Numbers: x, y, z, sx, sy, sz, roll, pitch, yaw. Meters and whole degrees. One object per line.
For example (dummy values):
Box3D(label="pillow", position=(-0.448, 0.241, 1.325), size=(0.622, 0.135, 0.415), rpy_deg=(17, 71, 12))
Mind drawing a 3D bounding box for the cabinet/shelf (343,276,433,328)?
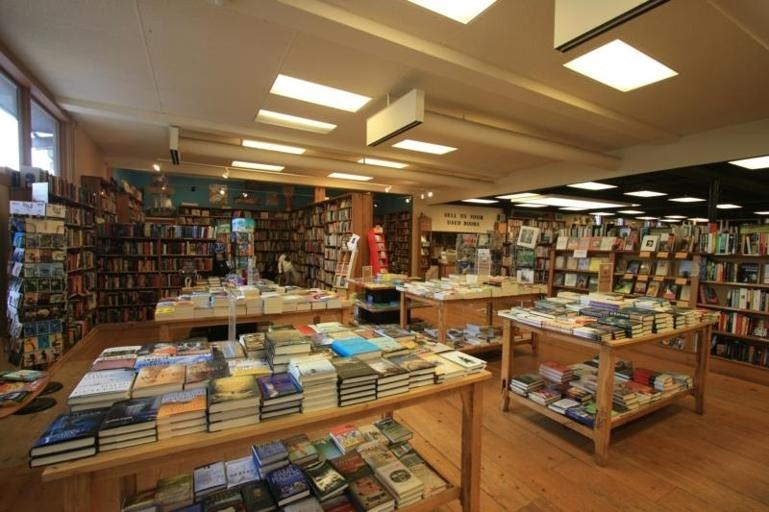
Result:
Box3D(label="cabinet/shelf", position=(-0.039, 0.811, 8.669), size=(1.100, 0.517, 1.019), rpy_deg=(-1, 3, -33))

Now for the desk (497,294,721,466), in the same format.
Box3D(label="desk", position=(2.824, 1.350, 6.031), size=(2.293, 1.071, 1.591), rpy_deg=(-2, 6, -35))
